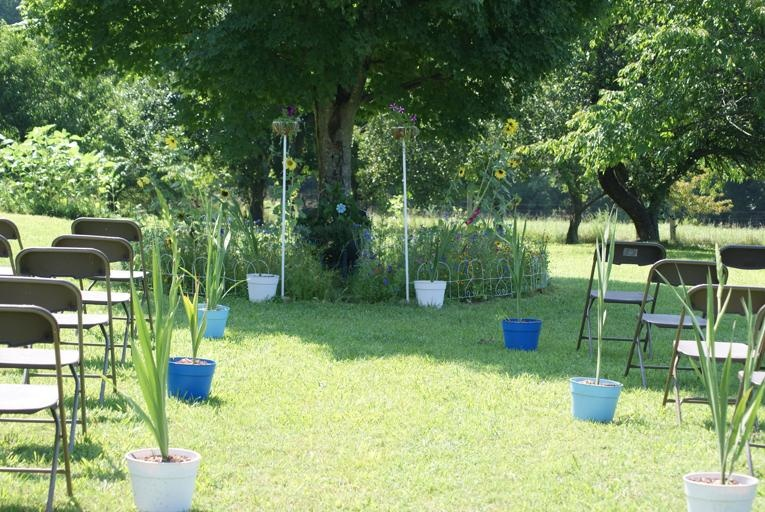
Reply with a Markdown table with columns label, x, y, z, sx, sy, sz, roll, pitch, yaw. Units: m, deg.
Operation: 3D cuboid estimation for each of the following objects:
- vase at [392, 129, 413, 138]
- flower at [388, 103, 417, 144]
| label | x | y | z | sx | sy | sz | roll | pitch | yaw |
| --- | --- | --- | --- | --- | --- | --- | --- | --- | --- |
| vase | 0.389 | -2.398 | 21.387 | 0.190 | 0.139 | 0.203 | 0 | 1 | 35 |
| flower | 0.425 | -2.601 | 21.684 | 0.620 | 0.847 | 0.664 | 2 | -2 | -40 |
